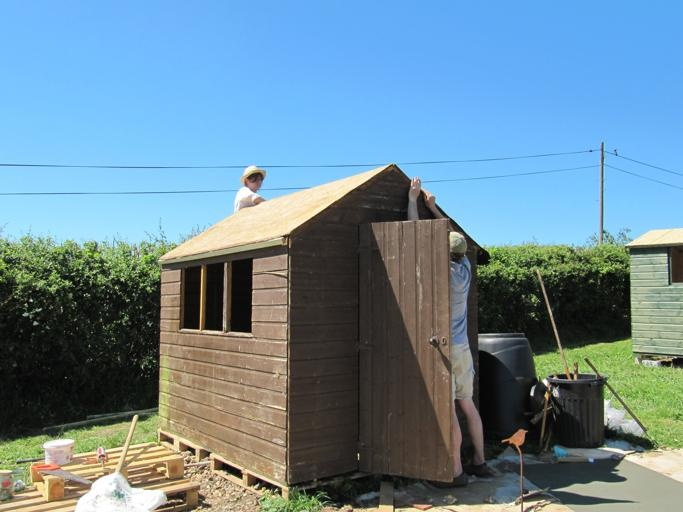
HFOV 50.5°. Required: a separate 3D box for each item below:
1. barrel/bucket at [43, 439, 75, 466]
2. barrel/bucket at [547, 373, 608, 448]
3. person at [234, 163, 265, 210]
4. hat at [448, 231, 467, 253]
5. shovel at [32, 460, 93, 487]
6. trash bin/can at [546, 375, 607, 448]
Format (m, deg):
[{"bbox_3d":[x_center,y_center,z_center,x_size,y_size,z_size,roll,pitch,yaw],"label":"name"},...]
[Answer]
[{"bbox_3d":[-3.764,2.586,9.640,0.335,0.258,0.326,1,-3,0],"label":"barrel/bucket"},{"bbox_3d":[3.705,2.384,11.388,0.978,1.046,0.953,-1,-5,0],"label":"barrel/bucket"},{"bbox_3d":[-1.623,-1.196,12.746,0.502,0.815,0.789,1,2,-7],"label":"person"},{"bbox_3d":[1.639,-0.195,10.172,0.226,0.300,0.228,1,2,5],"label":"hat"},{"bbox_3d":[-3.695,2.780,9.317,1.051,0.092,0.314,12,8,16],"label":"shovel"},{"bbox_3d":[3.662,2.365,11.318,1.005,1.048,0.939,0,-6,-16],"label":"trash bin/can"}]
